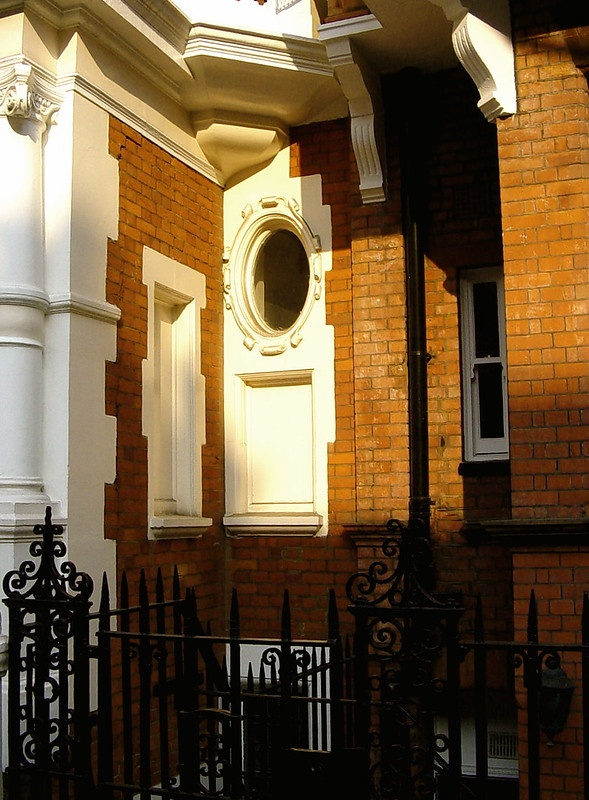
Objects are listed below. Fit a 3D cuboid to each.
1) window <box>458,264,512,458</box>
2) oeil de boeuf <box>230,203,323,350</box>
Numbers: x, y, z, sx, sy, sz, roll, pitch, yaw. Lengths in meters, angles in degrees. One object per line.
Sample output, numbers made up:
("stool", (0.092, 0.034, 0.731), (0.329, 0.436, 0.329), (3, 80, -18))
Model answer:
("window", (1.338, -0.263, 7.452), (0.313, 1.356, 0.127), (-4, 15, 10))
("oeil de boeuf", (-0.131, -0.960, 8.225), (0.968, 1.520, 0.164), (0, -3, 13))
